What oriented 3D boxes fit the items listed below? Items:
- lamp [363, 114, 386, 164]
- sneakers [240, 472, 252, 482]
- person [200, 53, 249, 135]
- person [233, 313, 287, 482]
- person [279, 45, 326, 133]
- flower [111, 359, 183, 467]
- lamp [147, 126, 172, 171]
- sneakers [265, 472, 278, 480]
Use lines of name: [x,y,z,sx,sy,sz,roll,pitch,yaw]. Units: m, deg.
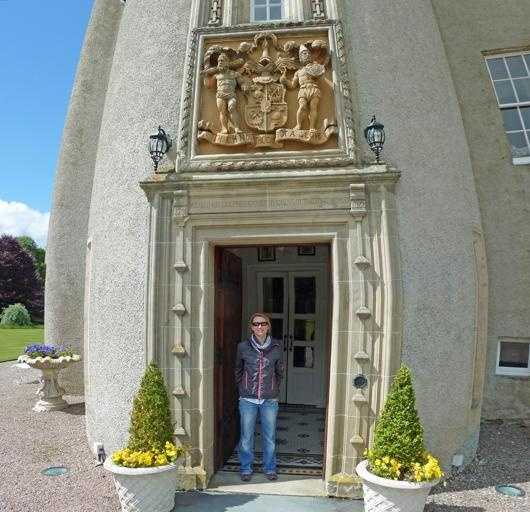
lamp: [1.348,-1.455,6.349,0.228,0.478,0.203,-3,0,-12]
sneakers: [-0.230,2.762,6.488,0.133,0.094,0.100,0,-8,-9]
person: [-0.536,-2.089,6.737,0.535,1.077,0.146,-1,-8,-5]
person: [-0.073,1.782,6.614,0.599,2.059,0.363,-1,-8,1]
person: [0.499,-2.177,6.698,0.590,1.207,0.135,-2,-8,6]
flower: [-1.301,1.841,6.074,0.958,1.246,0.882,2,-8,-9]
lamp: [-1.342,-1.373,6.607,0.241,0.605,0.336,-2,-8,8]
sneakers: [0.080,2.772,6.547,0.164,0.093,0.149,-1,-8,1]
